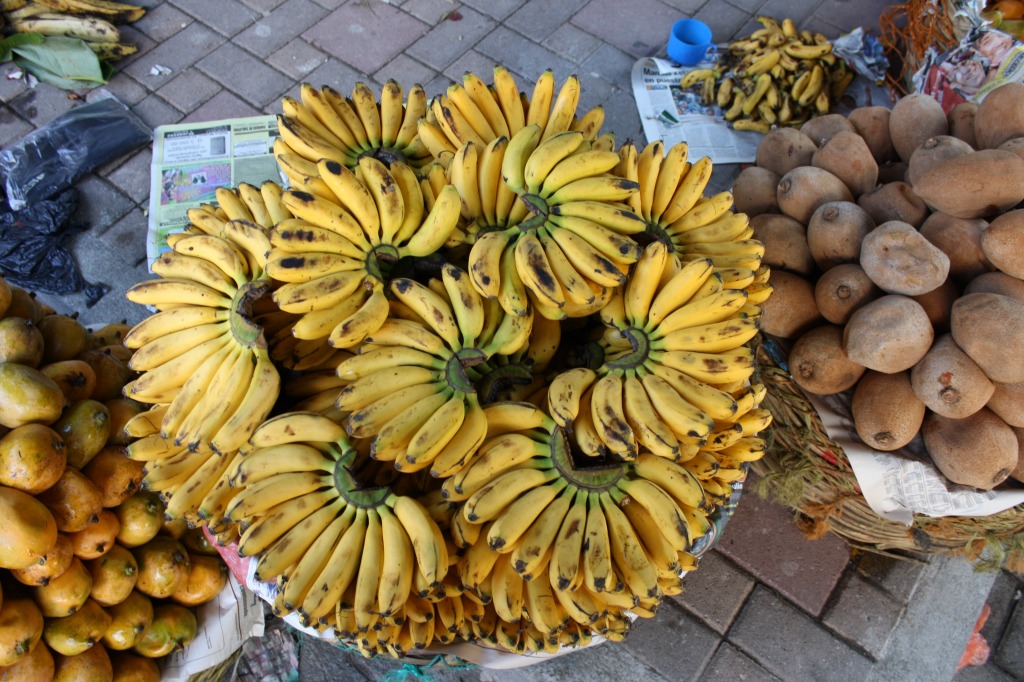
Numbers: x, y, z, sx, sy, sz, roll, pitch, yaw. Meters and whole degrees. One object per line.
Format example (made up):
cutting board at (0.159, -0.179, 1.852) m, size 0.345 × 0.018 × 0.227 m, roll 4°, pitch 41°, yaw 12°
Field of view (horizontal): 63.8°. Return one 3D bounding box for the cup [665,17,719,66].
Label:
cup at (1.006, -1.669, 4.730) m, size 0.275 × 0.189 × 0.213 m, roll 34°, pitch 75°, yaw 17°
